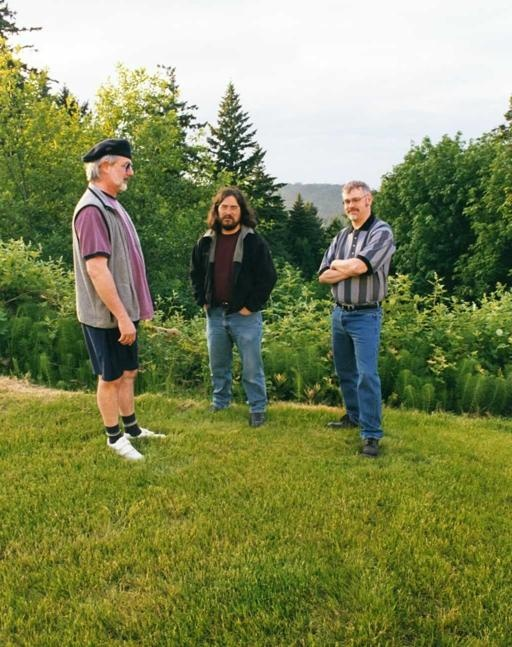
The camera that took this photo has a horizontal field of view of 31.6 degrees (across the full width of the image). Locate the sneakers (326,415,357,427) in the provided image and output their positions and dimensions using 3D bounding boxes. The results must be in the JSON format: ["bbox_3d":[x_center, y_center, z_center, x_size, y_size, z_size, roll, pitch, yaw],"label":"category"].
[{"bbox_3d":[0.805,0.963,8.770,0.317,0.131,0.104,3,-17,13],"label":"sneakers"}]

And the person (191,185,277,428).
[{"bbox_3d":[-0.171,-0.184,8.957,0.547,2.280,1.167,-7,16,-27],"label":"person"}]

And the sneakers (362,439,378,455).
[{"bbox_3d":[0.978,1.073,7.752,0.140,0.120,0.201,2,14,7],"label":"sneakers"}]

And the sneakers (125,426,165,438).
[{"bbox_3d":[-0.980,0.977,8.023,0.349,0.119,0.115,0,6,-17],"label":"sneakers"}]

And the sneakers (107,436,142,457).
[{"bbox_3d":[-1.093,1.043,7.566,0.351,0.133,0.115,20,28,29],"label":"sneakers"}]

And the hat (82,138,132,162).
[{"bbox_3d":[-1.211,-1.420,7.412,0.283,0.107,0.232,-13,16,-16],"label":"hat"}]

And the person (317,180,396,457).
[{"bbox_3d":[0.917,-0.061,8.098,0.595,2.350,1.281,-3,14,-11],"label":"person"}]

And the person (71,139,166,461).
[{"bbox_3d":[-1.166,-0.193,7.484,0.674,2.585,0.733,1,14,2],"label":"person"}]
